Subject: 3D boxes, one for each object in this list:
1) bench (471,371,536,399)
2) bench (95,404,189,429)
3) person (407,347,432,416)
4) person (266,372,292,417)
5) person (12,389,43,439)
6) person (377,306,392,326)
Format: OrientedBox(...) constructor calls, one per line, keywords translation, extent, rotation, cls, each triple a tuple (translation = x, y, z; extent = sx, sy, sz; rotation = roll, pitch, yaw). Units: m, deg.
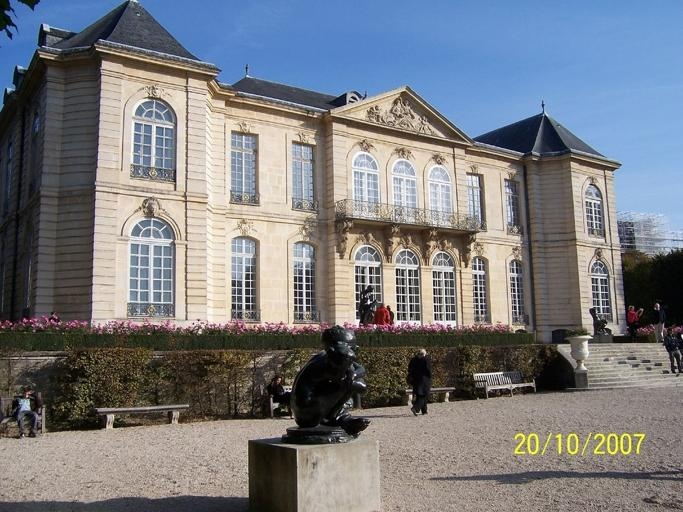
OrientedBox(translation=(5.959, 4.647, 25.650), extent=(2.681, 0.925, 1.001), rotation=(6, -12, -37), cls="bench")
OrientedBox(translation=(-5.481, 4.403, 19.399), extent=(2.434, 0.576, 1.182), rotation=(2, -10, -20), cls="bench")
OrientedBox(translation=(2.371, 3.755, 21.142), extent=(0.658, 1.929, 0.526), rotation=(-2, -9, 3), cls="person")
OrientedBox(translation=(-1.725, 4.085, 20.612), extent=(0.694, 1.224, 0.503), rotation=(4, 17, 22), cls="person")
OrientedBox(translation=(-8.118, 4.060, 18.198), extent=(0.700, 1.136, 1.207), rotation=(3, -10, -25), cls="person")
OrientedBox(translation=(1.708, 2.358, 27.598), extent=(0.598, 0.910, 0.310), rotation=(-4, -7, 34), cls="person")
